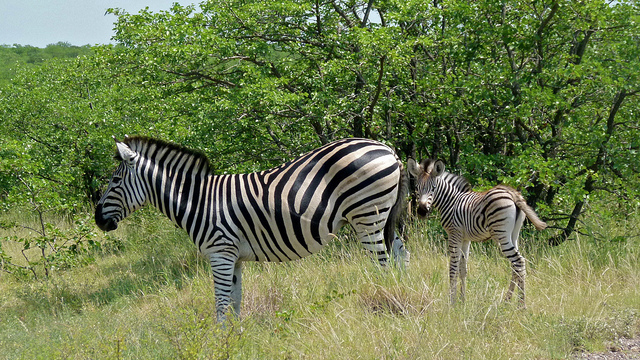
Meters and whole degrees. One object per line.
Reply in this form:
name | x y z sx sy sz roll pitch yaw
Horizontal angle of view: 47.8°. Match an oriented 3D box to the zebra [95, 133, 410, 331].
zebra | -1.592 1.180 17.745 7.884 4.783 2.173 -4 -1 2
